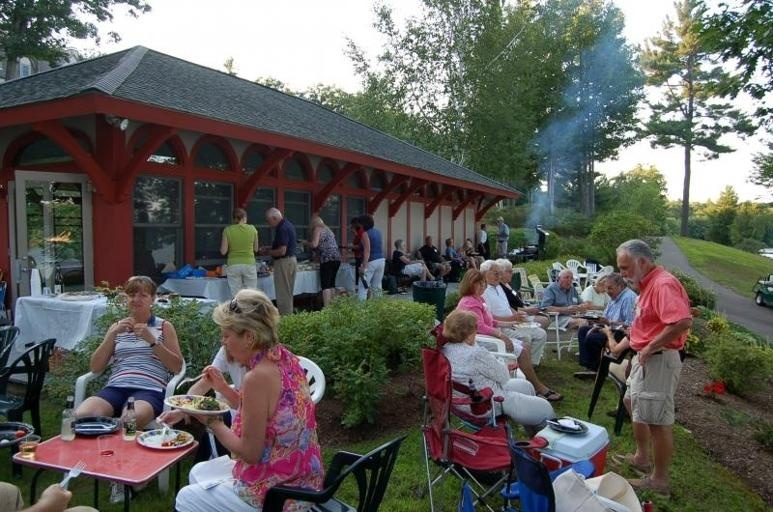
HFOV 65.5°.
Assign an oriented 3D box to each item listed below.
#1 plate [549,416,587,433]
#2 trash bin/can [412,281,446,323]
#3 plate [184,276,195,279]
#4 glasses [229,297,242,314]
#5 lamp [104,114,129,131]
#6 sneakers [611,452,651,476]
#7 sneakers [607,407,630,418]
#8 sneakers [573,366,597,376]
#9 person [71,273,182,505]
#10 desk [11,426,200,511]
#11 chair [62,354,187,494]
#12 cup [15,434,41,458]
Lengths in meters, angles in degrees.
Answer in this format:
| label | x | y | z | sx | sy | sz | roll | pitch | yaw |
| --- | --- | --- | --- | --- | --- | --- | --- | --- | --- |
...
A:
| label | x | y | z | sx | sy | sz | roll | pitch | yaw |
| --- | --- | --- | --- | --- | --- | --- | --- | --- | --- |
| plate | 2.084 | 1.956 | 6.893 | 0.432 | 0.102 | 0.230 | 1 | 1 | 17 |
| trash bin/can | 0.978 | 1.000 | 12.941 | 0.770 | 1.147 | 0.757 | 0 | -2 | -3 |
| plate | -3.844 | 0.430 | 11.809 | 0.200 | 0.055 | 0.140 | 2 | 1 | 35 |
| glasses | -1.491 | 0.495 | 5.908 | 0.130 | 0.041 | 0.128 | 37 | -8 | -25 |
| lamp | -4.795 | -2.394 | 10.623 | 0.422 | 0.261 | 0.242 | 24 | 37 | 28 |
| sneakers | 3.162 | 2.697 | 7.752 | 0.206 | 0.157 | 0.443 | 4 | 2 | -39 |
| sneakers | 3.372 | 2.310 | 8.769 | 0.273 | 0.156 | 0.382 | -3 | -2 | 36 |
| sneakers | 3.440 | 2.006 | 10.374 | 0.364 | 0.168 | 0.139 | -2 | 0 | 26 |
| person | -3.158 | 1.522 | 7.431 | 1.145 | 2.436 | 1.499 | 1 | 1 | 9 |
| desk | -2.967 | 2.130 | 6.261 | 1.454 | 0.783 | 0.924 | 4 | 4 | 24 |
| chair | -3.500 | 2.144 | 8.083 | 1.358 | 2.168 | 1.516 | 1 | -4 | 13 |
| cup | -3.783 | 2.018 | 6.358 | 0.196 | 0.171 | 0.203 | 7 | -4 | 0 |
